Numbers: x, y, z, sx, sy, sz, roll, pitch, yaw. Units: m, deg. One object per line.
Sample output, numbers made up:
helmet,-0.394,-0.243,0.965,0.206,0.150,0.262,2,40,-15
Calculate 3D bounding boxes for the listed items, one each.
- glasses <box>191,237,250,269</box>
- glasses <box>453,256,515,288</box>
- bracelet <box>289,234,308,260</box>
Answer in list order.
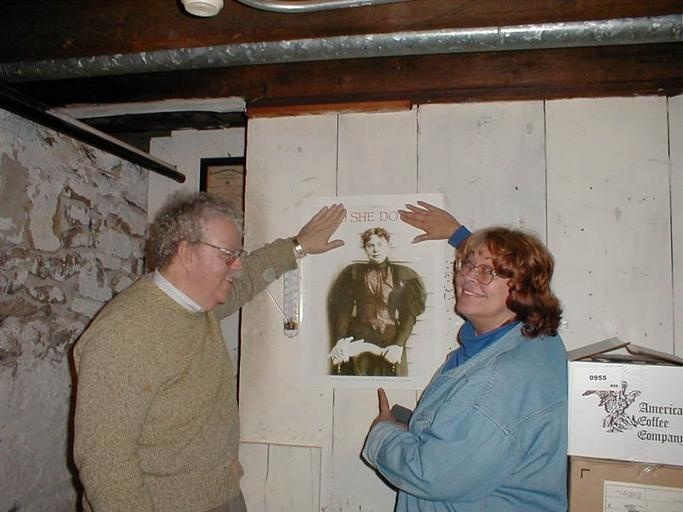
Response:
glasses,-0.524,-0.026,2.979,0.127,0.128,0.041,21,85,18
glasses,0.566,0.065,2.912,0.132,0.129,0.043,20,86,-36
bracelet,-0.213,-0.035,3.352,0.066,0.106,0.107,-25,55,1
